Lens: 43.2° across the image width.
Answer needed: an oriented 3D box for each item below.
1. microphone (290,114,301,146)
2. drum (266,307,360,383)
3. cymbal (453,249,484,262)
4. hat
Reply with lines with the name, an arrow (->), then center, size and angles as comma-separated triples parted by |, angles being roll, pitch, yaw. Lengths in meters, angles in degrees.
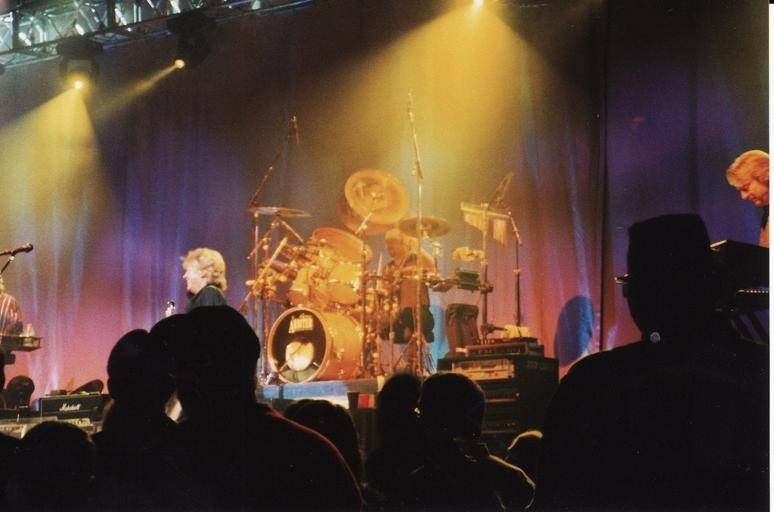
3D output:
microphone -> -1.160, -1.593, 12.340 | 0.130, 0.312, 0.288 | -1, -9, -5
drum -> -0.832, 1.043, 10.891 | 0.590, 0.569, 0.456 | -37, -32, 29
cymbal -> 0.938, 0.000, 11.073 | 0.245, 0.099, 0.172 | 5, -2, -24
hat -> 1.946, -0.030, 6.909 | 0.565, 0.471, 0.461 | -1, 6, 41
